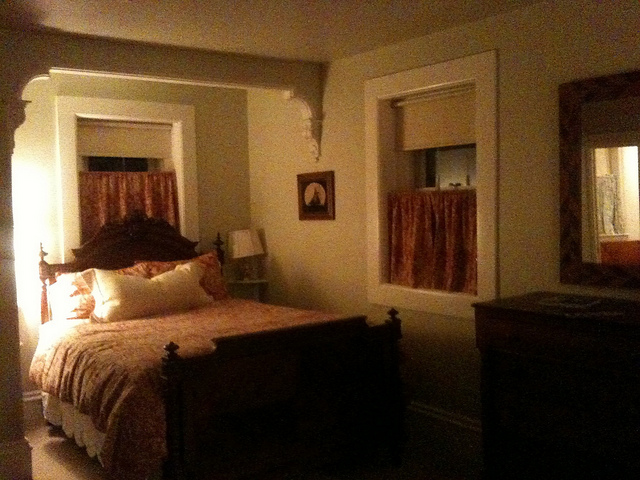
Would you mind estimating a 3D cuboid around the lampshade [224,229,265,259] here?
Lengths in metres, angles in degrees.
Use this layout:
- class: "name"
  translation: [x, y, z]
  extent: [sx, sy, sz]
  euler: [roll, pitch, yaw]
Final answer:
- class: "lampshade"
  translation: [-0.830, 0.074, 5.411]
  extent: [0.350, 0.215, 0.335]
  euler: [-16, 8, 4]

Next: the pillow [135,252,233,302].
- class: "pillow"
  translation: [-1.218, 0.455, 5.002]
  extent: [0.590, 0.550, 0.170]
  euler: [-4, -26, -43]

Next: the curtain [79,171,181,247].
- class: "curtain"
  translation: [-1.914, -0.296, 4.899]
  extent: [0.822, 0.628, 0.062]
  euler: [-4, 4, -28]

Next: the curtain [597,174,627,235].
- class: "curtain"
  translation: [1.737, -0.209, 2.945]
  extent: [0.041, 0.371, 0.172]
  euler: [1, -3, -22]

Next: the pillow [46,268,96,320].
- class: "pillow"
  translation: [-2.152, 0.464, 4.318]
  extent: [0.457, 0.417, 0.120]
  euler: [-6, -7, 7]

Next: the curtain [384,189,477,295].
- class: "curtain"
  translation: [0.934, 0.013, 4.053]
  extent: [0.925, 0.821, 0.108]
  euler: [5, 7, 40]

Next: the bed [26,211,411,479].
- class: "bed"
  translation: [-0.810, 0.741, 3.347]
  extent: [1.956, 1.428, 2.299]
  euler: [-5, 4, -38]
